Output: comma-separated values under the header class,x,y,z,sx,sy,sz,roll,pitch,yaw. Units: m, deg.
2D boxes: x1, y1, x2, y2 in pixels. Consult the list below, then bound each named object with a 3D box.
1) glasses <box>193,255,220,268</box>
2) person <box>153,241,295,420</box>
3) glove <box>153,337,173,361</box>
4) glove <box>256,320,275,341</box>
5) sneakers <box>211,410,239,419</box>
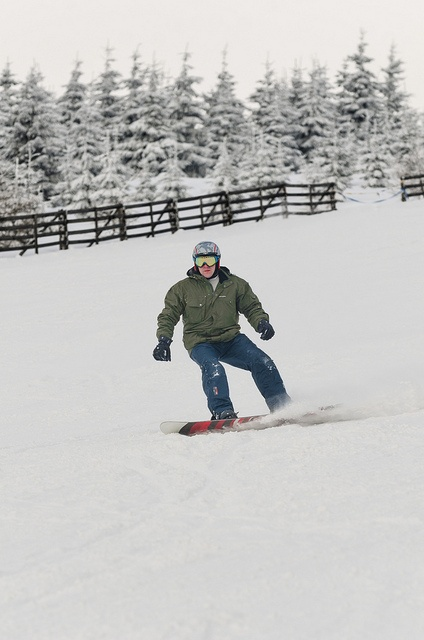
class,x,y,z,sx,sy,sz,roll,pitch,yaw
glasses,-0.048,-0.490,7.656,0.192,0.094,0.096,-4,7,0
person,0.007,0.147,7.596,0.902,1.731,0.879,-11,-21,-7
glove,-0.411,0.243,7.597,0.150,0.204,0.223,-4,7,-4
glove,0.430,0.101,7.627,0.054,0.172,0.124,-32,-33,20
sneakers,0.088,0.714,6.975,0.200,0.092,0.067,4,1,45
